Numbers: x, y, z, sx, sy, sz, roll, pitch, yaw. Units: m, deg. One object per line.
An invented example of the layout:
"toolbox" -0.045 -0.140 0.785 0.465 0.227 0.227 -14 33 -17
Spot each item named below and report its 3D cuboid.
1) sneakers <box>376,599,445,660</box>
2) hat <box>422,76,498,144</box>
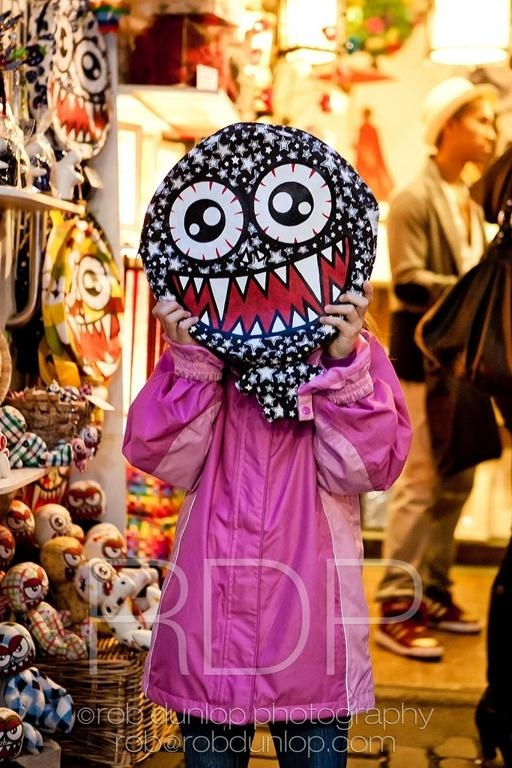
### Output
"sneakers" 0.597 0.923 3.245 0.150 0.208 0.457 -6 -4 -7
"hat" 0.765 -1.036 3.223 0.119 0.246 0.397 -1 9 -17
